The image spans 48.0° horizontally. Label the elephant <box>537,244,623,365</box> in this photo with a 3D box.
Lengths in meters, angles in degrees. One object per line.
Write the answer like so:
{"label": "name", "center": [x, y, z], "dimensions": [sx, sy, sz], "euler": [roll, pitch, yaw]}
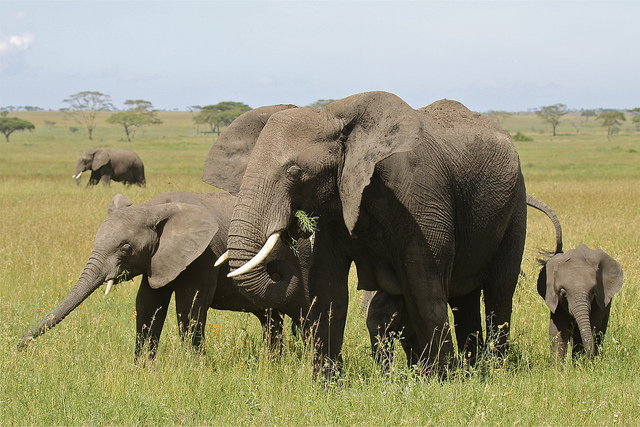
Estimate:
{"label": "elephant", "center": [3.899, 1.371, 10.700], "dimensions": [1.098, 1.720, 2.994], "euler": [-6, -8, 23]}
